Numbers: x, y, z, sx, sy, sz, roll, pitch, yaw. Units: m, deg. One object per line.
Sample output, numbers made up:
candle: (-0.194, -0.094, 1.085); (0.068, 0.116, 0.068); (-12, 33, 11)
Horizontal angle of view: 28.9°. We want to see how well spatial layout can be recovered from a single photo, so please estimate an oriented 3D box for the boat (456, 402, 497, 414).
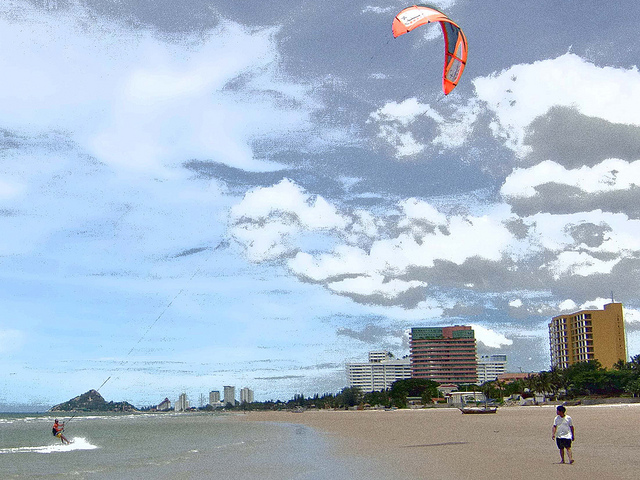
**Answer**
boat: (30.375, 31.752, 234.928); (8.201, 1.919, 2.339); (0, -31, 1)
